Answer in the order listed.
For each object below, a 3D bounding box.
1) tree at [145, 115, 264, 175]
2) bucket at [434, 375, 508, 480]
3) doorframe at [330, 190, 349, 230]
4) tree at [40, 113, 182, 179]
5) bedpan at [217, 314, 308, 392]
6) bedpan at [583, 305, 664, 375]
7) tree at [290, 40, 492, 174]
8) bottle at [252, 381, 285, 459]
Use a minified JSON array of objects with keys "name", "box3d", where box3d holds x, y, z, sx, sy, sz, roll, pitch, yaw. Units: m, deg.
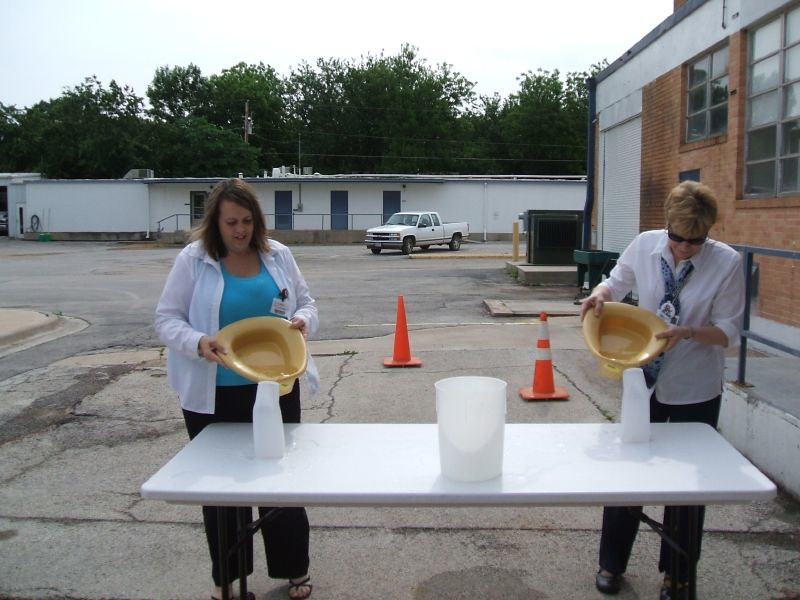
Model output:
[{"name":"tree","box3d":[-15.452,-11.707,50.625,8.330,4.646,2.732,2,6,21]},{"name":"bucket","box3d":[0.302,0.565,2.886,0.372,0.443,0.391,-1,2,0]},{"name":"doorframe","box3d":[-3.398,-5.005,37.191,1.008,2.405,0.313,-1,30,-8]},{"name":"tree","box3d":[-22.729,-11.798,51.926,7.854,3.756,6.243,-10,15,-40]},{"name":"bedpan","box3d":[-0.653,0.233,3.147,0.411,0.269,0.288,-2,6,-21]},{"name":"bedpan","box3d":[1.098,0.209,3.246,0.375,0.170,0.428,22,41,29]},{"name":"tree","box3d":[-2.069,-18.267,63.812,15.868,12.969,8.451,3,6,30]},{"name":"bottle","box3d":[-0.593,0.557,2.969,0.167,0.440,0.172,2,27,-1]}]
